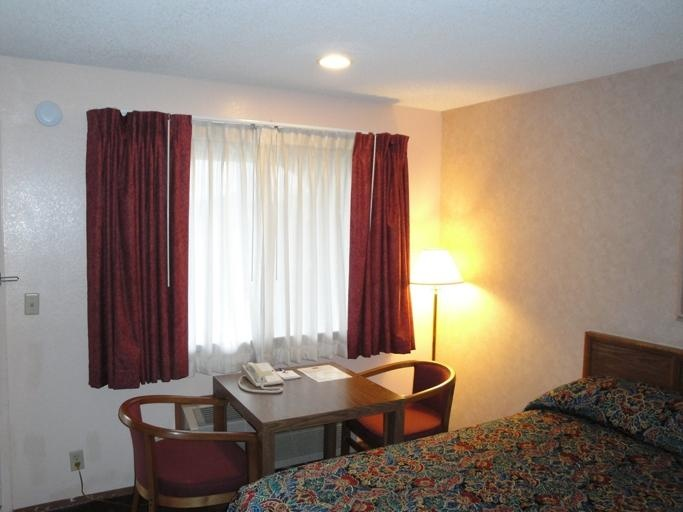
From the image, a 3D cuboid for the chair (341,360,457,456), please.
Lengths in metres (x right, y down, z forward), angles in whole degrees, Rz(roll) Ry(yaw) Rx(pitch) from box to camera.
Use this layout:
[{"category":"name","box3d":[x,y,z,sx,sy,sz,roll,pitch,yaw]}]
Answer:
[{"category":"chair","box3d":[0.416,1.217,4.578,0.822,0.894,0.803,-1,5,-30]}]

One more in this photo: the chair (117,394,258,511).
[{"category":"chair","box3d":[-1.078,1.341,3.940,0.900,0.944,0.878,-2,8,-23]}]
